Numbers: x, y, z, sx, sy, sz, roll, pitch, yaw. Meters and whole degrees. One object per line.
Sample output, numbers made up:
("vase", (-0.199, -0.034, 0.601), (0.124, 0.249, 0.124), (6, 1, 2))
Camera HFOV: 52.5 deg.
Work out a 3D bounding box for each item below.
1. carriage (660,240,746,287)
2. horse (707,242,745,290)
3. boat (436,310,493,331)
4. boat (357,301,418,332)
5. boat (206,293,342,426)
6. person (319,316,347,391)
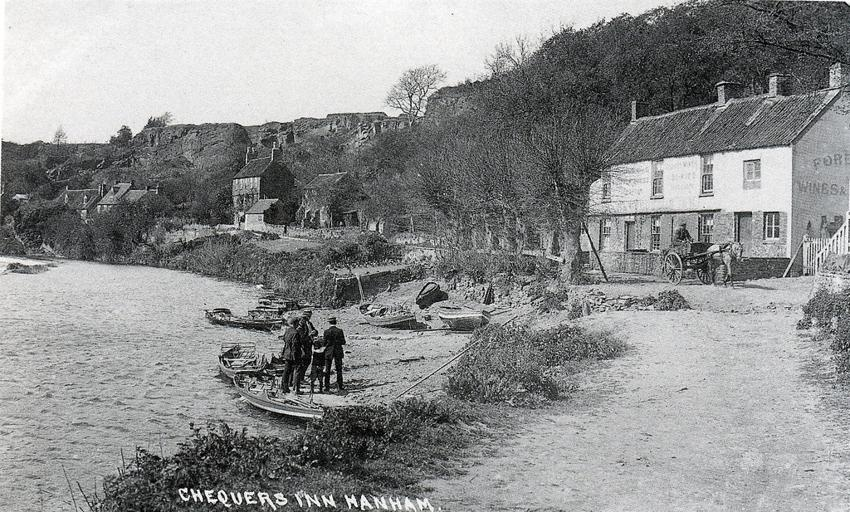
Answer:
("carriage", (16.767, 0.415, 51.056), (2.476, 2.053, 3.913), (1, -5, -33))
("horse", (17.148, 0.282, 50.210), (3.513, 2.481, 1.015), (2, -3, -23))
("boat", (2.514, 4.005, 54.113), (3.247, 1.307, 0.778), (0, -2, 36))
("boat", (-2.572, 4.114, 59.329), (1.613, 1.142, 4.455), (-5, 0, -29))
("boat", (-9.439, 5.407, 48.451), (4.688, 2.762, 13.137), (-2, 17, -18))
("person", (-4.653, 4.895, 43.725), (1.285, 3.614, 1.147), (1, -2, 23))
